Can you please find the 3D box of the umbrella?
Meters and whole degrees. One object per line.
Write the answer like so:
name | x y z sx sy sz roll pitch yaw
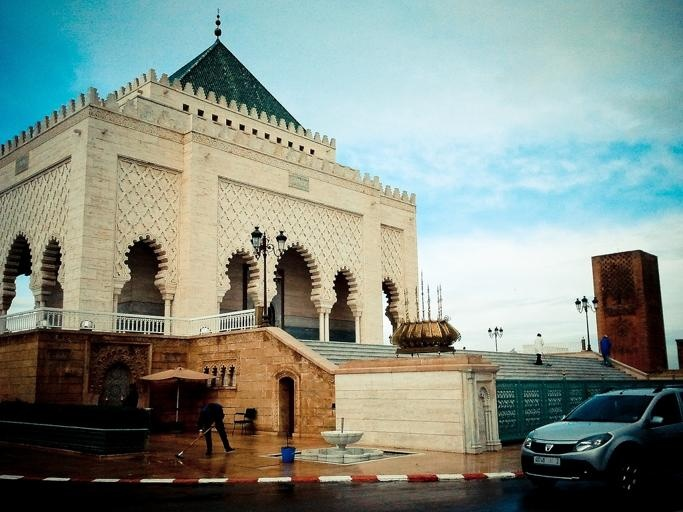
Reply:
umbrella | -5.498 4.696 22.419 2.221 1.756 2.172 0 -13 -11

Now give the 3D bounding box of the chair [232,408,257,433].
chair | -3.099 5.409 21.851 0.843 0.957 0.780 -12 -18 37

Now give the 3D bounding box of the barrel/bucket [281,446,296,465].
barrel/bucket | -1.182 4.463 14.842 0.413 0.286 0.361 4 -13 -4

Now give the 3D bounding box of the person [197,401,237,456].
person | -3.075 4.254 16.403 0.748 1.233 1.464 0 -13 -9
